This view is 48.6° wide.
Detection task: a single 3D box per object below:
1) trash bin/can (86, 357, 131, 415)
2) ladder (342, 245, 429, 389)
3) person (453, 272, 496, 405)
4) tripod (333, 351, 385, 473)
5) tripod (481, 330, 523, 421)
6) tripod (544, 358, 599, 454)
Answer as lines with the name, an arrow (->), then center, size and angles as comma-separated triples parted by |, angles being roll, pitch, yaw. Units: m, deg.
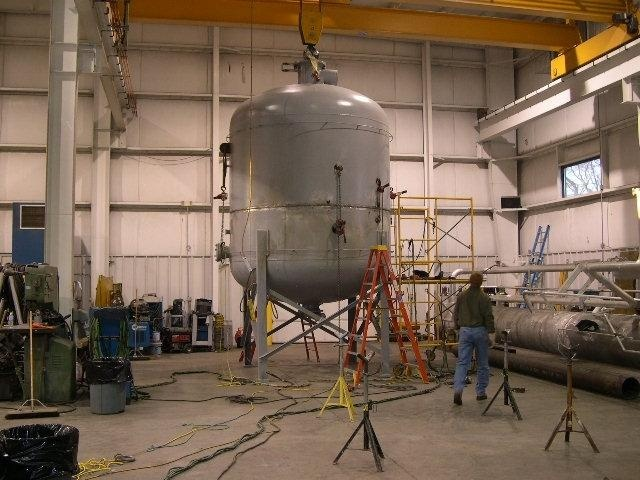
trash bin/can -> -4.165, 2.852, 13.787 | 0.769, 1.046, 0.950 | 3, -11, -24
ladder -> 1.413, 1.534, 16.306 | 1.636, 3.734, 1.365 | 4, -1, -8
person -> 2.986, 1.889, 14.171 | 0.819, 2.282, 1.220 | 0, -2, -1
tripod -> 0.639, 2.773, 11.591 | 0.795, 1.693, 1.223 | 0, -3, 5
tripod -> 3.576, 2.648, 13.626 | 0.809, 1.832, 1.037 | 6, 3, 22
tripod -> 4.278, 2.730, 12.090 | 0.841, 1.522, 1.334 | -1, -3, 22
